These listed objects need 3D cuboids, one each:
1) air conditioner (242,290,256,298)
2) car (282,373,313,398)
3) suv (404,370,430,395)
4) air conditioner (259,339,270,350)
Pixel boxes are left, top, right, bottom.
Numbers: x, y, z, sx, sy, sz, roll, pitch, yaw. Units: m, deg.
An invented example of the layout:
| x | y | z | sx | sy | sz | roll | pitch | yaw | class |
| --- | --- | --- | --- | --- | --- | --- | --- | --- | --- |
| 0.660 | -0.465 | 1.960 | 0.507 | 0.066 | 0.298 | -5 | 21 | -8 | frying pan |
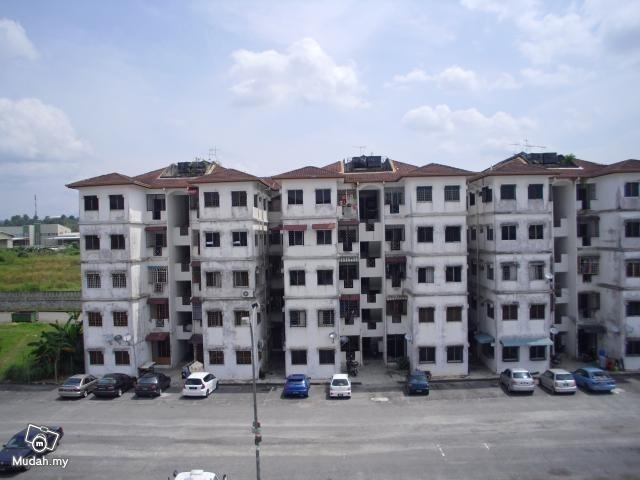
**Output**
| x | y | z | sx | sy | sz | roll | pitch | yaw | class |
| --- | --- | --- | --- | --- | --- | --- | --- | --- | --- |
| -7.594 | 5.783 | 81.889 | 1.403 | 0.934 | 0.778 | 0 | -6 | -5 | air conditioner |
| -2.511 | 14.894 | 78.219 | 2.670 | 2.216 | 1.967 | -1 | -6 | -3 | car |
| 9.756 | 14.448 | 78.222 | 1.576 | 1.351 | 2.641 | 0 | 3 | 1 | suv |
| -6.074 | 11.508 | 84.387 | 0.983 | 1.352 | 0.809 | -1 | 18 | -7 | air conditioner |
